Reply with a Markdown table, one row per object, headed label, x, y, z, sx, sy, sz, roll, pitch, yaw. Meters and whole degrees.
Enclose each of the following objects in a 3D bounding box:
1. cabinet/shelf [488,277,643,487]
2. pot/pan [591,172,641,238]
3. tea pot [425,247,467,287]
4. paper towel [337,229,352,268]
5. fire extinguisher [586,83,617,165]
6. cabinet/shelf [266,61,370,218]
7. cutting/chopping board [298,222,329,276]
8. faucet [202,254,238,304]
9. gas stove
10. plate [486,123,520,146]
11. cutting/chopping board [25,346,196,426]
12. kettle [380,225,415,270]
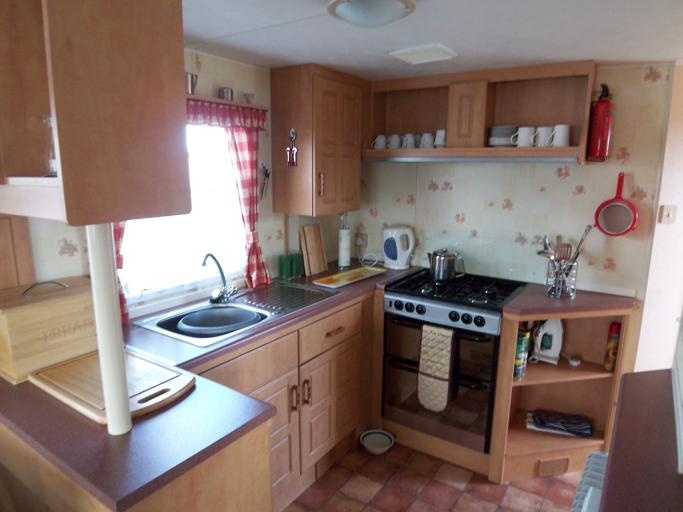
| label | x | y | z | sx | sy | sz | roll | pitch | yaw |
| --- | --- | --- | --- | --- | --- | --- | --- | --- | --- |
| cabinet/shelf | 1.339 | 0.789 | 3.450 | 0.699 | 1.293 | 0.781 | 0 | 10 | -1 |
| pot/pan | 1.668 | -0.312 | 3.159 | 0.244 | 0.397 | 0.118 | 6 | 15 | 30 |
| tea pot | 0.724 | 0.048 | 3.640 | 0.282 | 0.232 | 0.195 | 12 | 22 | 39 |
| paper towel | 0.025 | -0.078 | 3.901 | 0.092 | 0.306 | 0.074 | 15 | 21 | 42 |
| fire extinguisher | 1.538 | -0.803 | 3.090 | 0.123 | 0.453 | 0.208 | 6 | 15 | 29 |
| cabinet/shelf | -0.167 | -0.771 | 3.524 | 0.486 | 1.091 | 0.608 | 7 | 12 | 31 |
| cutting/chopping board | -0.210 | -0.113 | 3.717 | 0.218 | 0.253 | 0.029 | -2 | -6 | -44 |
| faucet | -0.709 | 0.098 | 3.088 | 0.169 | 0.299 | 0.351 | -4 | 13 | -8 |
| gas stove | 0.703 | 0.291 | 3.291 | 1.022 | 0.203 | 0.958 | 7 | 12 | 31 |
| plate | 1.020 | -0.779 | 3.269 | 0.142 | 0.107 | 0.135 | -17 | 24 | -41 |
| cutting/chopping board | -0.947 | 0.507 | 2.155 | 0.664 | 0.049 | 0.439 | 13 | 19 | 38 |
| kettle | 0.423 | -0.086 | 3.879 | 0.198 | 0.333 | 0.316 | -16 | 20 | -37 |
